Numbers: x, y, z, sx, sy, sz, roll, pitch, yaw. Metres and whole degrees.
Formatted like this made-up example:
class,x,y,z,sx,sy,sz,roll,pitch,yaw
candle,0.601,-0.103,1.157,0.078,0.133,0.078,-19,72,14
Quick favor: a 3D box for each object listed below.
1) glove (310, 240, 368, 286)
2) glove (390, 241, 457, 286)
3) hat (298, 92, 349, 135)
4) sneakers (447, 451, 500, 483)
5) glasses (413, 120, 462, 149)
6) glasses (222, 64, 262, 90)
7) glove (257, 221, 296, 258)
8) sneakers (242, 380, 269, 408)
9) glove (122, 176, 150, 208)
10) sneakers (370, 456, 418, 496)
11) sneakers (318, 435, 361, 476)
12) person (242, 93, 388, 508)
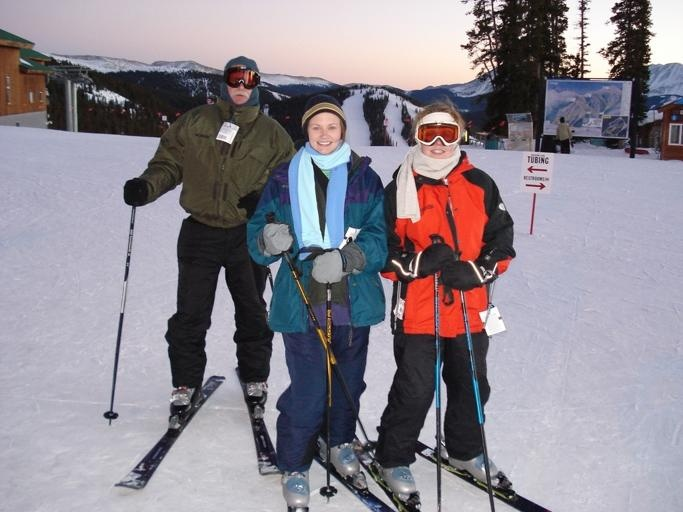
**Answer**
class,x,y,z,sx,sy,sz,roll,pitch,yaw
glove,-0.024,0.048,2.894,0.253,0.164,0.107,-15,6,-22
glove,0.395,0.026,2.961,0.336,0.212,0.098,6,8,27
hat,-0.103,-0.765,3.051,0.197,0.203,0.157,-13,48,3
sneakers,0.719,1.150,3.216,0.312,0.141,0.116,4,5,44
glasses,0.505,-0.641,3.033,0.154,0.081,0.166,1,-1,3
glasses,-0.646,-1.163,3.765,0.158,0.095,0.188,4,19,-11
glove,-0.330,-0.089,2.922,0.164,0.143,0.068,4,-19,23
sneakers,-0.583,0.931,3.943,0.104,0.060,0.173,3,39,0
glove,-1.290,-0.408,3.698,0.186,0.193,0.143,0,18,-7
sneakers,0.284,1.147,3.046,0.093,0.100,0.247,7,7,-24
sneakers,-0.014,1.094,3.271,0.107,0.124,0.311,5,27,-37
person,-0.128,0.210,3.086,0.600,2.099,0.634,-4,9,-38
